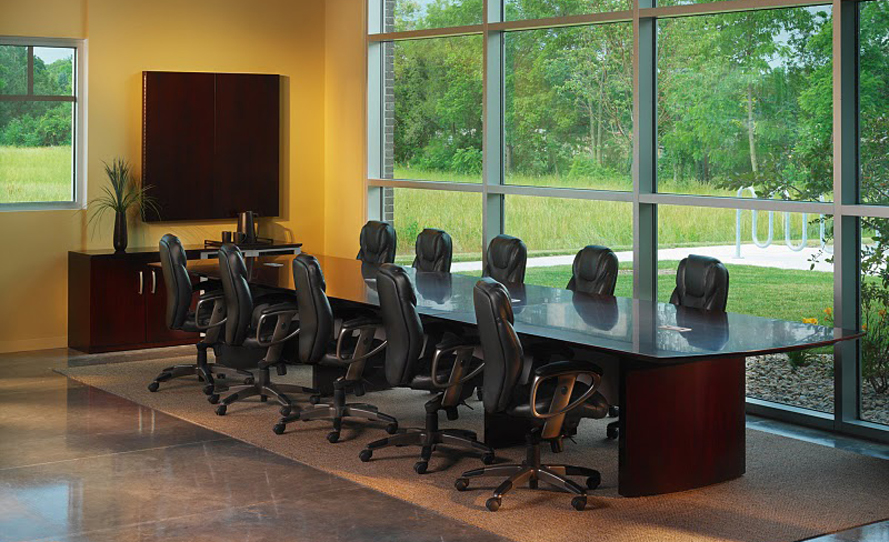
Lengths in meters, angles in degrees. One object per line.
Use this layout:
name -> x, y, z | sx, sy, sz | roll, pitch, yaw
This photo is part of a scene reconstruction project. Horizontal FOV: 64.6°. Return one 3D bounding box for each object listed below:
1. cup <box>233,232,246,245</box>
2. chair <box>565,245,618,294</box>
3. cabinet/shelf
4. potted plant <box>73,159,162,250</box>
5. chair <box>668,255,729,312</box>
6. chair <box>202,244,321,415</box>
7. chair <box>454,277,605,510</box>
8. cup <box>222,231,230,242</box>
cup -> -2.674, -0.427, 9.247 | 0.162, 0.166, 0.154 | 0, -4, 0
chair -> 1.421, -0.025, 6.820 | 0.507, 0.570, 0.405 | -3, 7, -45
cabinet/shelf -> -3.652, 0.353, 8.264 | 1.353, 0.926, 0.504 | -2, 1, -34
potted plant -> -4.131, -0.790, 9.036 | 0.982, 1.009, 0.924 | -3, -2, 44
chair -> 2.087, 0.089, 6.005 | 0.506, 0.574, 0.406 | -9, 11, -43
chair -> -1.548, 0.548, 6.616 | 1.325, 1.651, 1.113 | 10, -14, -33
chair -> 0.638, 0.872, 5.146 | 1.175, 1.473, 1.122 | 2, -4, 3
cup -> -2.843, -0.448, 9.232 | 0.141, 0.148, 0.136 | 1, 0, 0
